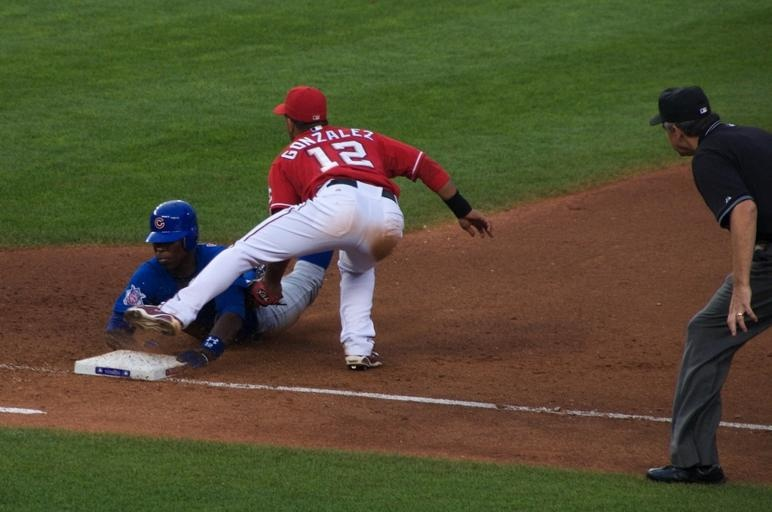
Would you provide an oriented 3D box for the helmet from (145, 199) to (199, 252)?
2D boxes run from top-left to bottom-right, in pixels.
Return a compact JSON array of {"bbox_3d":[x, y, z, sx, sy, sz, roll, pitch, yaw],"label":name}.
[{"bbox_3d":[-2.092,-0.307,12.652,0.442,0.360,0.584,1,3,35],"label":"helmet"}]

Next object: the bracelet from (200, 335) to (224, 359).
[{"bbox_3d":[-1.649,0.852,12.524,0.193,0.176,0.229,-14,2,-19],"label":"bracelet"}]

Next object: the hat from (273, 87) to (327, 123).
[{"bbox_3d":[-0.868,-1.473,12.756,0.501,0.222,0.369,19,24,36],"label":"hat"}]

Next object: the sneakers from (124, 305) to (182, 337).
[{"bbox_3d":[-2.109,0.586,12.203,0.593,0.207,0.237,19,26,1],"label":"sneakers"}]

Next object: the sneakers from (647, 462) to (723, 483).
[{"bbox_3d":[2.543,1.845,11.245,0.651,0.185,0.201,3,-3,5],"label":"sneakers"}]

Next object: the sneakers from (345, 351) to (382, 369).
[{"bbox_3d":[-0.207,1.000,12.708,0.147,0.142,0.361,2,6,34],"label":"sneakers"}]

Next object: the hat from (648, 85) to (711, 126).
[{"bbox_3d":[2.489,-1.304,11.299,0.460,0.185,0.337,3,16,36],"label":"hat"}]
